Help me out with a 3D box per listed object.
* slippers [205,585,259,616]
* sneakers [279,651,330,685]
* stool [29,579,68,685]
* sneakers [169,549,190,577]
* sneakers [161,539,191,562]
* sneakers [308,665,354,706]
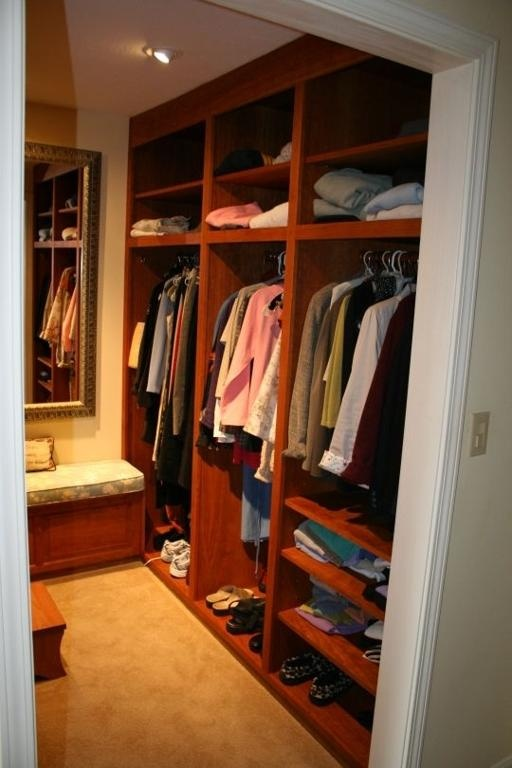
[{"bbox_3d":[-0.136,1.041,2.724,0.112,0.053,0.162,1,-1,30],"label":"slippers"},{"bbox_3d":[0.194,1.121,2.240,0.208,0.086,0.075,-6,6,-41],"label":"sneakers"},{"bbox_3d":[-0.826,1.015,2.230,0.121,0.308,0.360,0,6,-23],"label":"stool"},{"bbox_3d":[-0.417,0.967,3.075,0.072,0.091,0.196,3,11,3],"label":"sneakers"},{"bbox_3d":[-0.439,0.948,3.254,0.083,0.110,0.232,3,3,36],"label":"sneakers"},{"bbox_3d":[0.275,1.152,2.132,0.097,0.060,0.216,7,6,37],"label":"sneakers"}]
